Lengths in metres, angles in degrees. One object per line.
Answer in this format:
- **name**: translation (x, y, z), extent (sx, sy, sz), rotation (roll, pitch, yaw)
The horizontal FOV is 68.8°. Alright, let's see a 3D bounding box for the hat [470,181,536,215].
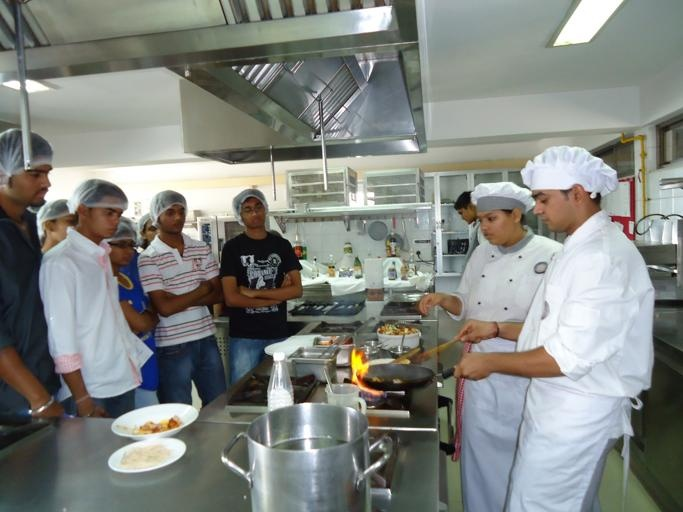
- **hat**: translation (0.824, -0.270, 2.542), extent (0.213, 0.089, 0.200), rotation (1, 1, 2)

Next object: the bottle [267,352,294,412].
- **bottle**: translation (-0.214, 0.433, 1.727), extent (0.082, 0.213, 0.087), rotation (-3, 8, 0)

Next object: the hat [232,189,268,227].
- **hat**: translation (-0.590, -0.337, 3.209), extent (0.186, 0.260, 0.212), rotation (0, 19, -9)

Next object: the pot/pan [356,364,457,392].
- **pot/pan**: translation (0.221, 0.478, 1.963), extent (0.235, 0.036, 0.149), rotation (-2, -1, -15)

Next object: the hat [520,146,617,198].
- **hat**: translation (0.885, -0.332, 1.963), extent (0.293, 0.139, 0.224), rotation (6, 11, 32)

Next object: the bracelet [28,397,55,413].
- **bracelet**: translation (-1.169, 0.579, 1.936), extent (0.051, 0.017, 0.063), rotation (-20, -9, -12)

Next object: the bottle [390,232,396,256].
- **bottle**: translation (0.760, -0.164, 7.361), extent (0.098, 0.280, 0.353), rotation (-2, 8, 7)

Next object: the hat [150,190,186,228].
- **hat**: translation (-1.069, -0.292, 3.056), extent (0.227, 0.209, 0.209), rotation (-3, 7, 0)

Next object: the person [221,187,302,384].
- **person**: translation (-0.536, 0.409, 3.217), extent (0.527, 1.616, 0.396), rotation (-4, 19, -25)

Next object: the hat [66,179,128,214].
- **hat**: translation (-1.157, -0.253, 2.455), extent (0.275, 0.179, 0.230), rotation (-8, 2, -39)
